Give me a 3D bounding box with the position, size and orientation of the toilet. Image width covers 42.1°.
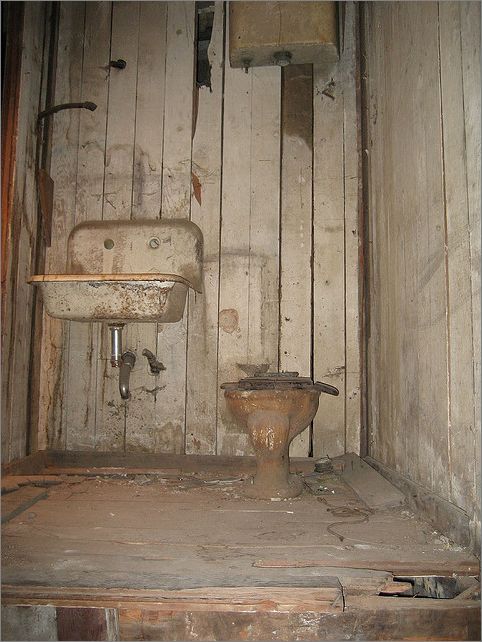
[{"bbox_3d":[0.113,-0.381,2.187,0.432,1.843,0.666,0,-1,10],"label":"toilet"}]

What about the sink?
[{"bbox_3d":[-0.437,-0.318,2.298,0.530,0.507,0.360,-2,-12,4],"label":"sink"}]
